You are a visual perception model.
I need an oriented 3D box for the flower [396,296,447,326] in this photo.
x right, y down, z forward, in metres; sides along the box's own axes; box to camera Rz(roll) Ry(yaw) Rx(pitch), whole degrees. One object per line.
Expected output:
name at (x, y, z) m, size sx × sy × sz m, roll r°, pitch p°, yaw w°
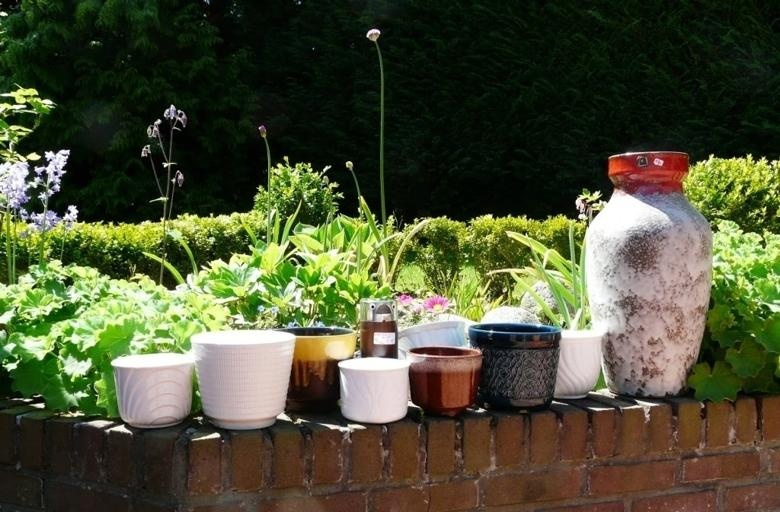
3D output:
flower at (0.159, 0.302, 5.099) m, size 0.187 × 0.072 × 0.186 m, roll -6°, pitch 16°, yaw -30°
